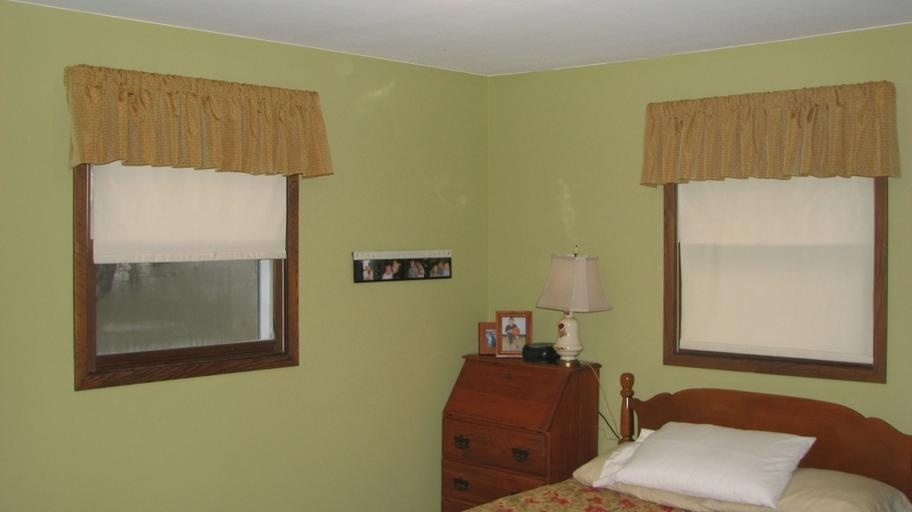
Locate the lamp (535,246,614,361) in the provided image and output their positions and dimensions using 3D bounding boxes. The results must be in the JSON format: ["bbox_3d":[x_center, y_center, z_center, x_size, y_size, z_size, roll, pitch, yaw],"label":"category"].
[{"bbox_3d":[1.006,0.430,6.087,0.458,0.889,0.513,2,5,42],"label":"lamp"}]

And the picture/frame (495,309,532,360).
[{"bbox_3d":[0.491,0.681,6.298,0.423,0.495,0.051,1,-5,0],"label":"picture/frame"}]
